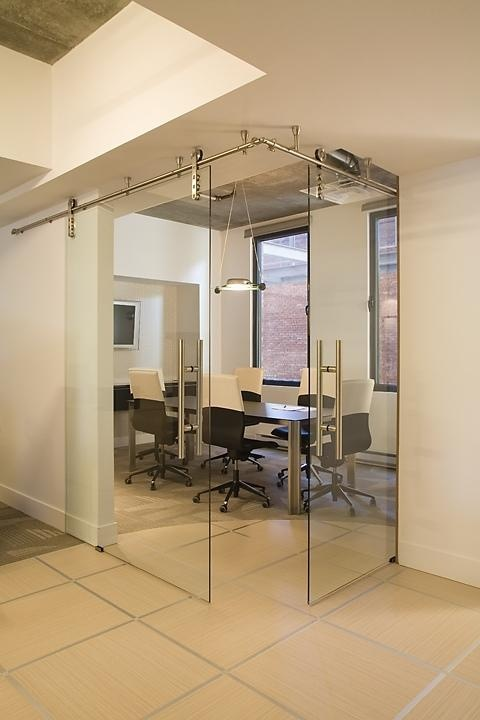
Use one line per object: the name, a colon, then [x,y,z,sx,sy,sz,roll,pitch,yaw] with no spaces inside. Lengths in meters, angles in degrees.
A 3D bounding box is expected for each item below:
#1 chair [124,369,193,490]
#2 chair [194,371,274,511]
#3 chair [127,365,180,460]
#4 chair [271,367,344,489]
chair: [-0.457,0.408,3.356,0.445,0.632,0.423,3,-5,-16]
chair: [0.025,0.665,4.679,0.634,1.011,0.619,8,3,8]
chair: [-0.473,0.344,3.366,0.332,0.541,0.348,3,-1,26]
chair: [0.583,0.699,4.819,0.327,0.712,0.378,20,0,-44]
